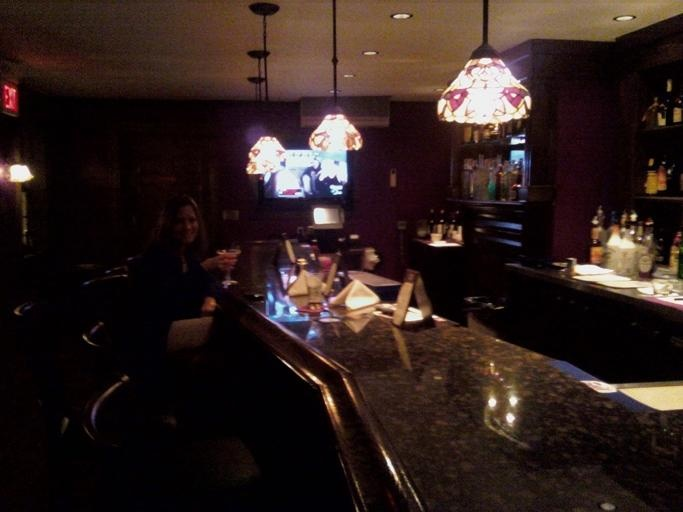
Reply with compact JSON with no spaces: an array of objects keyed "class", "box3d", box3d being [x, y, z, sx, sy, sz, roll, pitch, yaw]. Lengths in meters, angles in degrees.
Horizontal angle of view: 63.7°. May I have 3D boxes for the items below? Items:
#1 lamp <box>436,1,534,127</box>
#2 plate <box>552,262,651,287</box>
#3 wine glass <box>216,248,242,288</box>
[{"class":"lamp","box3d":[0.675,-0.826,2.599,0.389,0.385,0.243,0,9,-13]},{"class":"plate","box3d":[2.077,0.158,4.328,0.475,0.069,0.736,2,8,4]},{"class":"wine glass","box3d":[-0.846,0.102,4.174,0.196,0.224,0.185,-6,15,-42]}]
